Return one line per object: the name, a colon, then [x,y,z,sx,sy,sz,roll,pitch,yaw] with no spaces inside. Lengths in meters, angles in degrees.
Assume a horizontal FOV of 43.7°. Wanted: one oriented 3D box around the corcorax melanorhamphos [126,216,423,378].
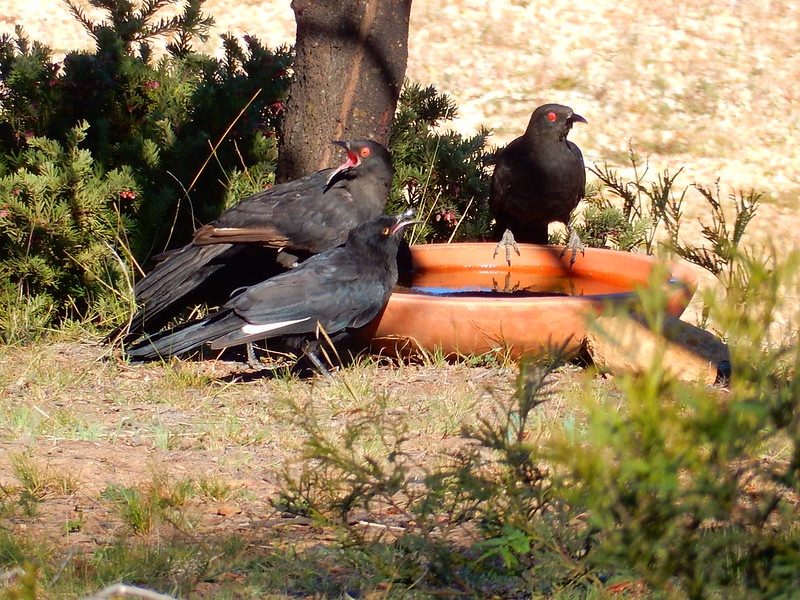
corcorax melanorhamphos: [-0.618,-0.049,5.540,1.415,0.882,0.611,1,15,-13]
